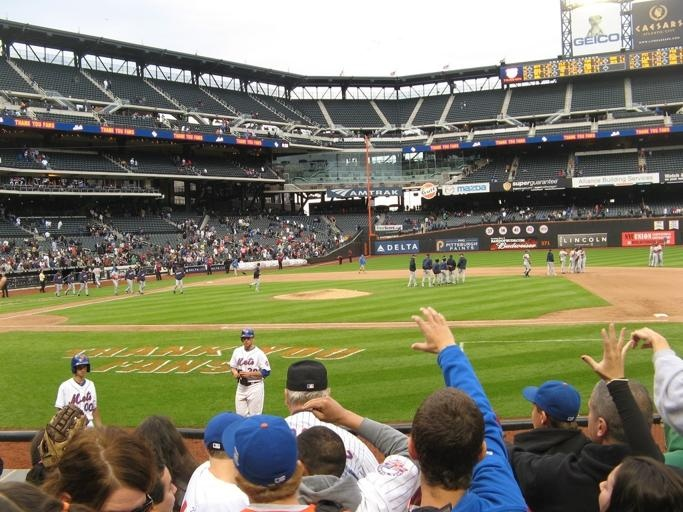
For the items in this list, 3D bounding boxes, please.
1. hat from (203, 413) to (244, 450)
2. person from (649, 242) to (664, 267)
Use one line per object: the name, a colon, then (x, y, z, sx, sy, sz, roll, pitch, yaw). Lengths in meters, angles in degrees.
hat: (-2.541, 3.589, 15.225, 0.639, 0.373, 0.905, 9, 11, 4)
person: (19.229, -0.060, 45.336, 0.780, 1.332, 1.738, 0, 1, 21)
